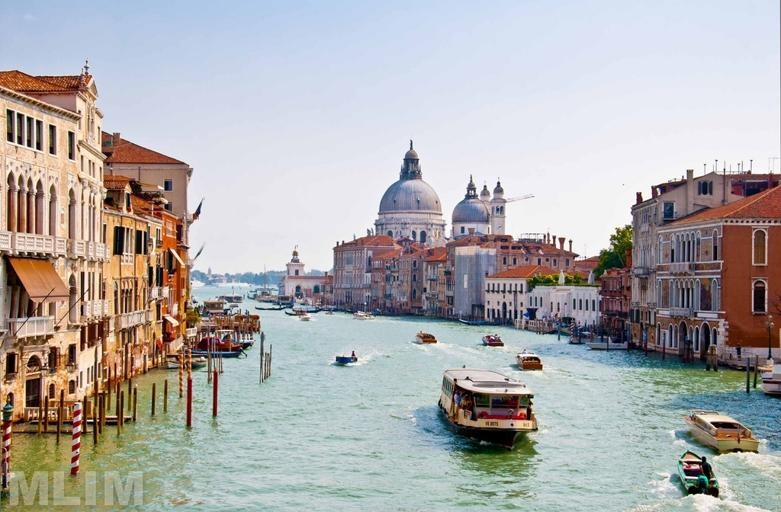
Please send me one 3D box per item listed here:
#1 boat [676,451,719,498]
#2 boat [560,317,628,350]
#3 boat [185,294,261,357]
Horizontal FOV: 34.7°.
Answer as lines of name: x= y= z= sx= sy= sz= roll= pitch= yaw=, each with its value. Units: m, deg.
boat: x=16.978 y=12.114 z=69.056 sx=1.820 sy=2.017 sz=2.079 roll=0 pitch=0 yaw=3
boat: x=22.125 y=8.571 z=138.391 sx=6.453 sy=4.188 sz=31.186 roll=-1 pitch=-5 yaw=6
boat: x=-19.996 y=8.153 z=149.118 sx=7.750 sy=4.120 sz=13.060 roll=0 pitch=-4 yaw=-7
